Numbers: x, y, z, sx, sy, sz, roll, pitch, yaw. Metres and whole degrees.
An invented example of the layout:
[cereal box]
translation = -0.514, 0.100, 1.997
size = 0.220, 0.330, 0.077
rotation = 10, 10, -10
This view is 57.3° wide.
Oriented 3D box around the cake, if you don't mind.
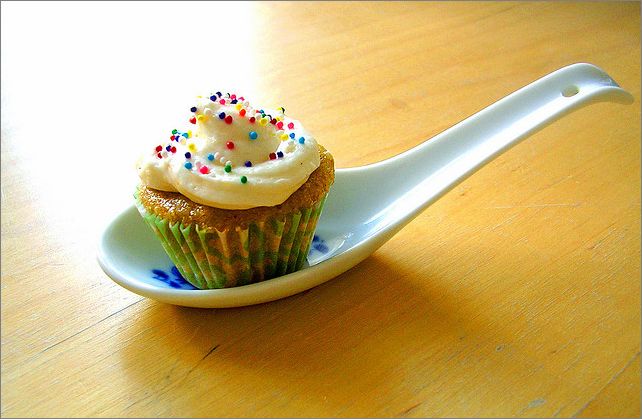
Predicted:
[cake]
translation = -0.182, -0.049, 1.381
size = 0.477, 0.356, 0.428
rotation = -6, 28, -9
